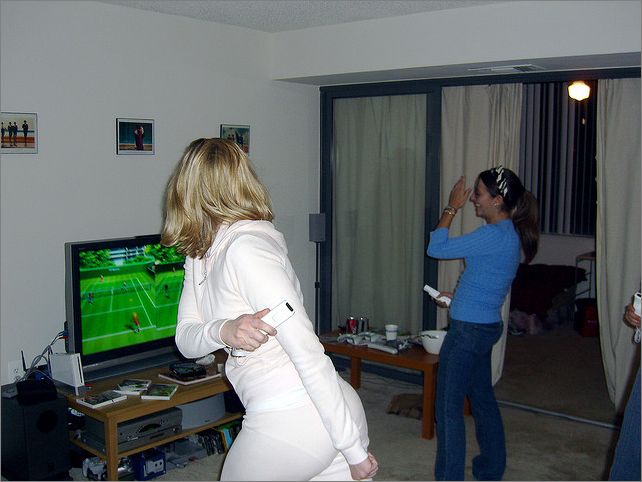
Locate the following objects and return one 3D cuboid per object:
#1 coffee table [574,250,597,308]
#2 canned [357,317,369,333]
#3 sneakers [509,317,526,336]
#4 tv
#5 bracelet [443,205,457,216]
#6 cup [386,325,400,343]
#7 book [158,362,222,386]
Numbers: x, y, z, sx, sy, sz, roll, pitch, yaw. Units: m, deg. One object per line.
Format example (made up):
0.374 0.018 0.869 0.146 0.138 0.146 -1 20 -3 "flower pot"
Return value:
3.318 0.501 6.364 0.236 0.601 0.619 4 7 34 "coffee table"
0.362 0.722 4.424 0.096 0.174 0.104 -2 4 -4 "canned"
2.314 1.023 6.041 0.305 0.151 0.104 8 12 44 "sneakers"
-1.312 0.441 3.302 0.868 0.895 0.464 -5 5 -42 "tv"
0.883 -0.192 3.476 0.076 0.079 0.074 -21 30 -15 "bracelet"
0.582 0.761 4.152 0.098 0.120 0.099 2 -2 0 "cup"
-0.865 0.892 3.414 0.198 0.051 0.202 -2 2 -40 "book"
